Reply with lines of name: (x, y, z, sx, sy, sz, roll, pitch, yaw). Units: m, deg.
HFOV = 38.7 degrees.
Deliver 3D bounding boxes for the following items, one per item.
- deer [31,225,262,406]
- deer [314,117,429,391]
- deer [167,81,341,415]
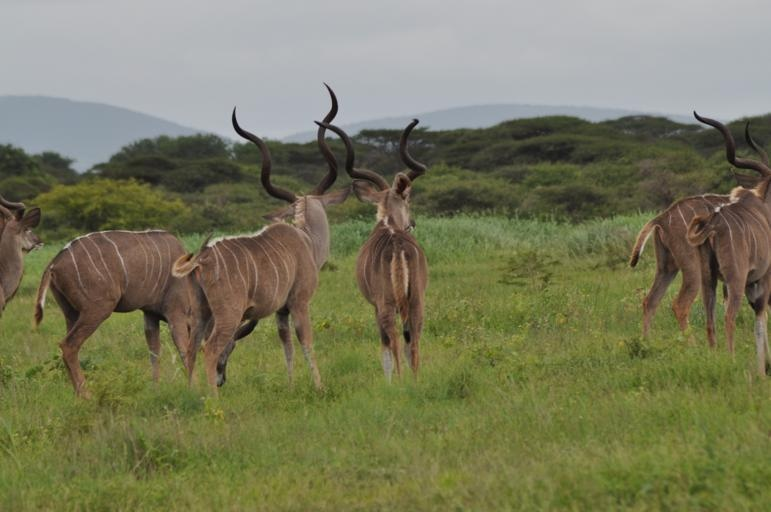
deer: (-4.557, 1.123, 21.485, 4.666, 3.280, 1.178, 5, -6, -40)
deer: (0.236, -0.071, 22.586, 1.669, 5.108, 5.428, -7, 12, 0)
deer: (-2.389, -0.187, 21.309, 1.774, 5.724, 5.183, -5, 1, 33)
